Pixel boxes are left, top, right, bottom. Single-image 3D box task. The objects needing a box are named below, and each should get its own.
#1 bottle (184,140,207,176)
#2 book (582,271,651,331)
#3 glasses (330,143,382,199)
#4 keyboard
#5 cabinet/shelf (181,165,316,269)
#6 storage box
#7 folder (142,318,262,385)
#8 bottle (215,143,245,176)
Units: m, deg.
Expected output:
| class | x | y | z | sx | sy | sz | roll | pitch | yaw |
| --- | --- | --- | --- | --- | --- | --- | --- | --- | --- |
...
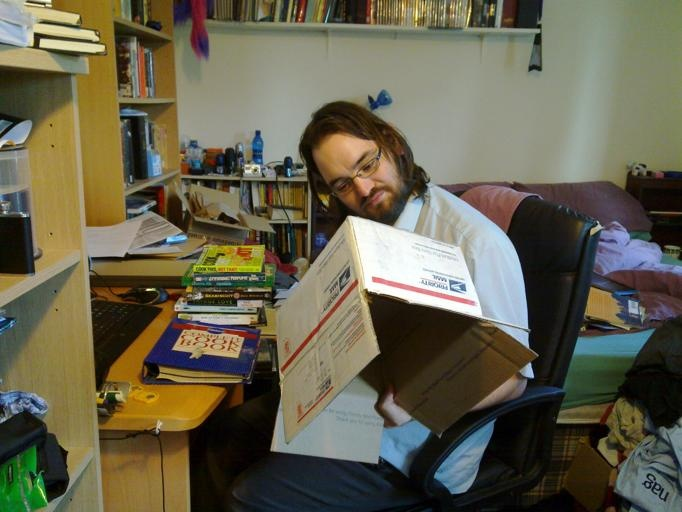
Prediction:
| class | x | y | z | sx | sy | sz | roll | pitch | yaw |
| --- | --- | --- | --- | --- | --- | --- | --- | --- | --- |
| bottle | -1.074 | -0.708 | 4.214 | 0.131 | 0.145 | 0.256 | -4 | 43 | -24 |
| book | 1.262 | 0.222 | 2.630 | 0.205 | 0.058 | 0.217 | 23 | 49 | 6 |
| glasses | 0.042 | -0.274 | 1.842 | 0.044 | 0.143 | 0.145 | 43 | 25 | -6 |
| keyboard | -0.693 | 0.278 | 1.868 | 0.164 | 0.077 | 0.278 | -1 | 29 | -7 |
| cabinet/shelf | -0.550 | -0.271 | 3.399 | 0.927 | 0.340 | 0.894 | 2 | 25 | -17 |
| storage box | 0.128 | 0.173 | 1.325 | 0.544 | 0.511 | 0.476 | -2 | 15 | -8 |
| folder | -0.402 | 0.297 | 1.732 | 0.320 | 0.073 | 0.355 | 11 | 15 | 7 |
| bottle | -0.817 | -0.698 | 4.219 | 0.122 | 0.156 | 0.239 | -2 | 19 | 3 |
